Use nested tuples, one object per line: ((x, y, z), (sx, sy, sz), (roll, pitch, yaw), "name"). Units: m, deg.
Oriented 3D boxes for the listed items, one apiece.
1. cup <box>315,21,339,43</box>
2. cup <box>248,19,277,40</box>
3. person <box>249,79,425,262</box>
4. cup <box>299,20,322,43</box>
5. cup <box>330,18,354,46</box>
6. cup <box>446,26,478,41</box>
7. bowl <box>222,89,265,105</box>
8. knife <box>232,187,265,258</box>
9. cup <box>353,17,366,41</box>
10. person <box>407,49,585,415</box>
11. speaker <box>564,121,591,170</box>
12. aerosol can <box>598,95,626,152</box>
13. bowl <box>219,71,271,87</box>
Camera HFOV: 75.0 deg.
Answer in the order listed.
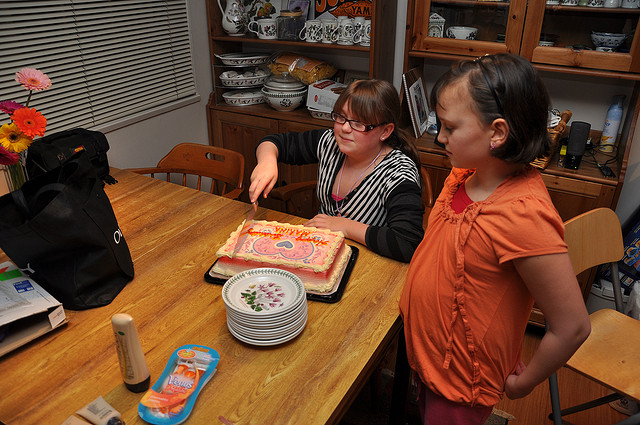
((0.064, -1.299, 3.000), (0.104, 0.127, 0.175), (24, 43, 28), "cup")
((-0.418, -1.366, 3.109), (0.209, 0.147, 0.141), (-3, 33, -1), "cup")
((0.112, -0.242, 2.175), (0.601, 0.989, 0.719), (-12, 33, -38), "person")
((-0.063, -1.267, 2.920), (0.149, 0.140, 0.097), (-1, 29, 2), "cup")
((0.146, -1.258, 2.941), (0.180, 0.170, 0.117), (-3, 16, -16), "cup")
((0.902, -1.120, 2.649), (0.122, 0.059, 0.106), (11, 29, 27), "cup")
((-0.614, -0.941, 3.391), (0.325, 0.098, 0.192), (-1, 26, -1), "bowl")
((-0.283, 0.015, 1.733), (0.015, 0.346, 0.048), (17, -6, 35), "knife")
((0.270, -1.273, 2.895), (0.089, 0.144, 0.081), (-1, 25, 0), "cup")
((0.569, 0.169, 1.341), (0.539, 1.238, 0.375), (14, 28, 30), "person")
((1.520, -0.403, 2.475), (0.095, 0.259, 0.164), (14, 29, 30), "speaker")
((1.823, -0.558, 2.600), (0.083, 0.325, 0.179), (15, 29, 31), "aerosol can")
((-0.594, -1.065, 3.347), (0.393, 0.103, 0.090), (-6, 26, -11), "bowl")
